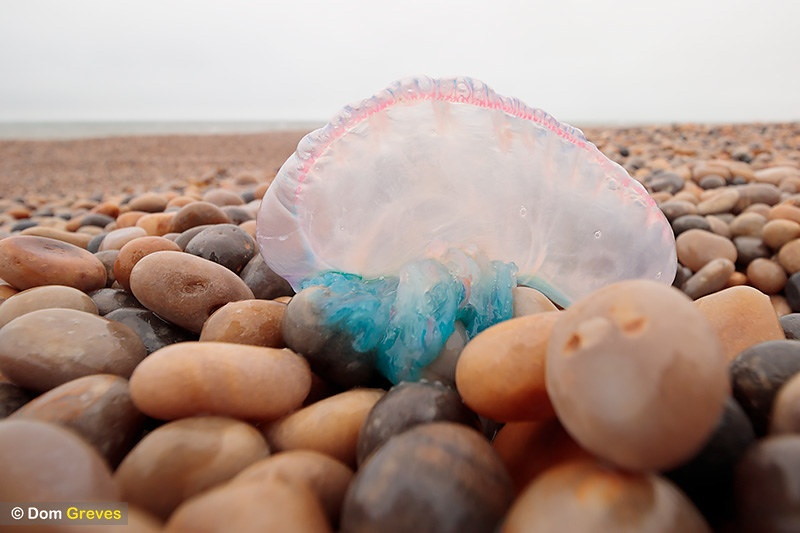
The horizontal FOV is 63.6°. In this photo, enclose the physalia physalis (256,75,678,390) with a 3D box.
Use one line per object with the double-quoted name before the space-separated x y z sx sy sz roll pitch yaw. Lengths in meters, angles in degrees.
"physalia physalis" 0.161 -0.105 1.461 0.974 0.584 0.378 -1 25 -10
